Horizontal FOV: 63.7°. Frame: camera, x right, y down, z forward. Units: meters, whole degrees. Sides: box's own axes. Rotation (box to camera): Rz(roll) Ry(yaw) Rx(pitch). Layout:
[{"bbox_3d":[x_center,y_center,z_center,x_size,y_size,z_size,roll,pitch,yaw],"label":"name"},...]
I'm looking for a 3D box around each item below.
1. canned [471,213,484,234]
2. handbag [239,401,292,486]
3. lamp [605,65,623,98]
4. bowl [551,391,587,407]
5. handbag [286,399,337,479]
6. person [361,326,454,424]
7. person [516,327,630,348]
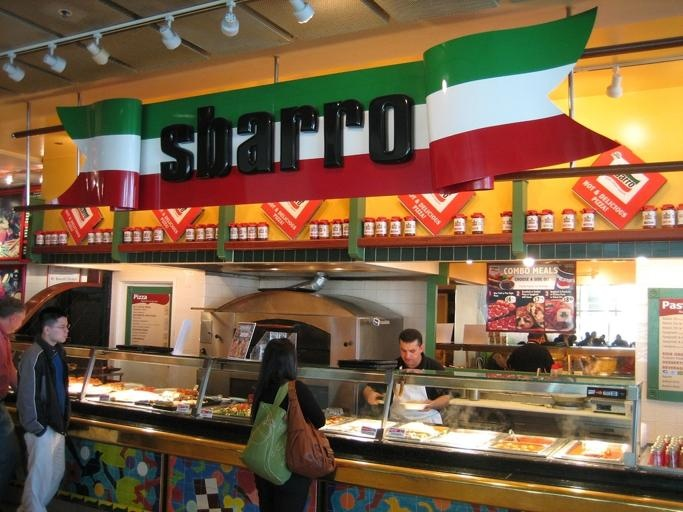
[{"bbox_3d":[1.381,-0.326,5.550,0.133,0.204,0.159,0,-1,13],"label":"canned"},{"bbox_3d":[-0.508,1.275,3.707,0.285,0.517,0.200,0,-2,37],"label":"handbag"},{"bbox_3d":[2.360,-1.498,4.751,0.102,0.317,0.446,0,-1,28],"label":"lamp"},{"bbox_3d":[1.549,0.959,3.734,0.158,0.050,0.148,0,-1,0],"label":"bowl"},{"bbox_3d":[-0.219,1.276,3.769,0.285,0.579,0.458,-15,-24,15],"label":"handbag"},{"bbox_3d":[0.518,1.070,4.269,0.723,0.896,0.530,-1,-6,16],"label":"person"},{"bbox_3d":[2.414,0.870,5.736,1.059,0.172,0.111,0,-1,20],"label":"person"}]
